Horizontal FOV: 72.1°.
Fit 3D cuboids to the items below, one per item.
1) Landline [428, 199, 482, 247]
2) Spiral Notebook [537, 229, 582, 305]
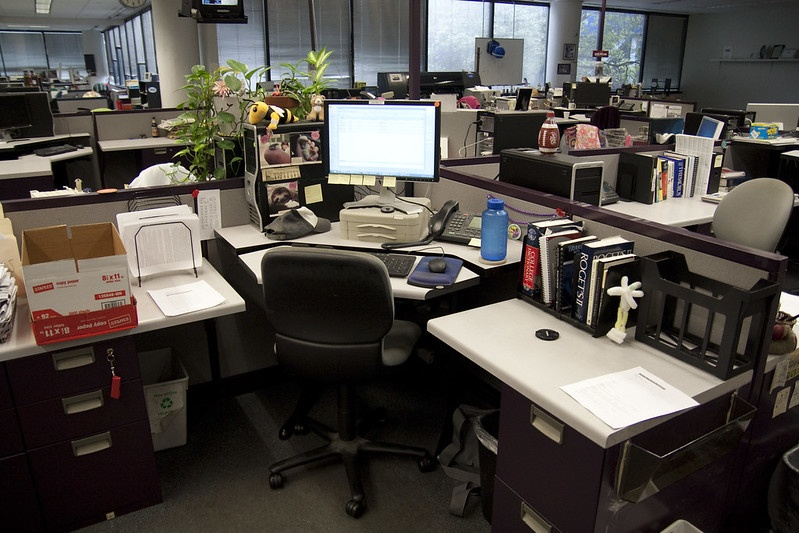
[{"bbox_3d":[0.304,-0.246,2.924,0.279,0.197,0.381,-5,18,-28],"label":"Landline"},{"bbox_3d":[0.683,0.005,2.330,0.250,0.301,0.166,-13,21,-36],"label":"Spiral Notebook"}]
